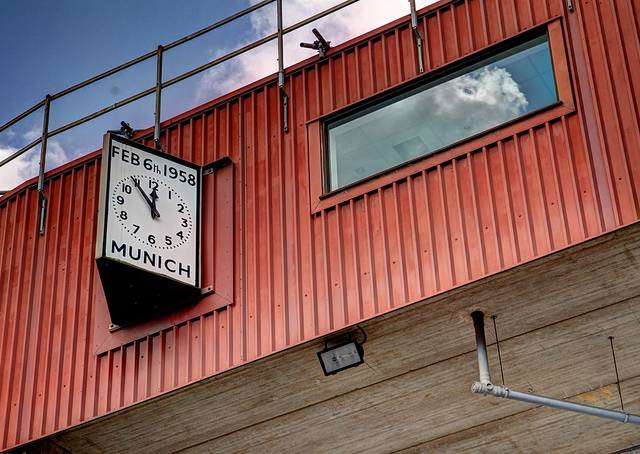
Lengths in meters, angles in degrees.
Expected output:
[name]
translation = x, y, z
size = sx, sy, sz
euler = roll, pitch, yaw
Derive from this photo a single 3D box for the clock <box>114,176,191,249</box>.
[clock]
translation = -2.704, -0.184, 21.351
size = 1.202, 1.067, 0.073
euler = 18, -43, -35
